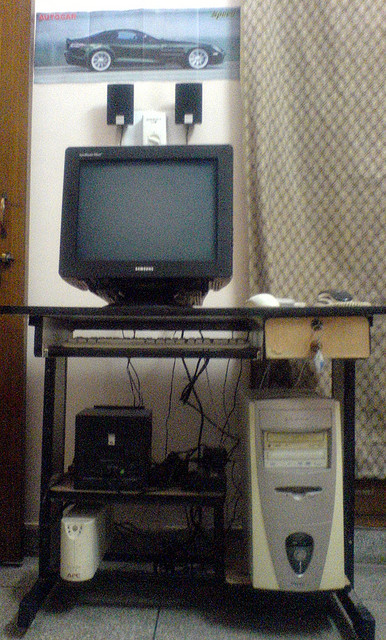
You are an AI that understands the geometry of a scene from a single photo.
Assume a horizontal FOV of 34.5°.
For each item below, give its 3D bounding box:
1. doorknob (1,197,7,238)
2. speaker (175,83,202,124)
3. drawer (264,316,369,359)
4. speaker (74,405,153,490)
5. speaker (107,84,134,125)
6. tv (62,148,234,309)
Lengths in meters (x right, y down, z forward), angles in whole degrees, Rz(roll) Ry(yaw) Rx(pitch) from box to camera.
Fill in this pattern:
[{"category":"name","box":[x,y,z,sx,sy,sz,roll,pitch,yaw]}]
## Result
[{"category":"doorknob","box":[-0.635,-0.341,2.086,0.018,0.131,0.035,-1,13,-8]},{"category":"speaker","box":[-0.019,-0.798,2.242,0.105,0.151,0.088,-7,42,-11]},{"category":"drawer","box":[0.320,0.047,1.608,0.274,0.109,0.040,-1,13,-5]},{"category":"speaker","box":[-0.234,0.385,1.931,0.191,0.217,0.215,1,-2,5]},{"category":"speaker","box":[-0.259,-0.773,2.246,0.105,0.135,0.063,-4,14,-17]},{"category":"tv","box":[-0.148,-0.367,1.964,0.496,0.524,0.393,-2,33,-8]}]
